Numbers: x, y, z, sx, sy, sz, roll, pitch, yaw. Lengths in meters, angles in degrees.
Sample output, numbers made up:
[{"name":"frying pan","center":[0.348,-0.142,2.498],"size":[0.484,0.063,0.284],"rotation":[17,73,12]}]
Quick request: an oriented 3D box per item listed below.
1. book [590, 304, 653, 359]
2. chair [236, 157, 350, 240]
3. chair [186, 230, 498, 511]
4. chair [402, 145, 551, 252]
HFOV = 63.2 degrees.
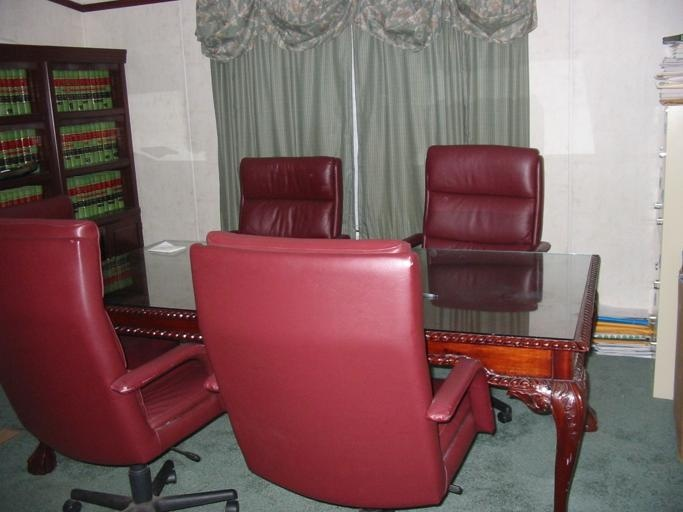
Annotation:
[{"name":"book","center":[1.941,0.597,3.940],"size":[0.445,0.130,0.516],"rotation":[3,42,22]},{"name":"chair","center":[-0.306,-0.412,4.351],"size":[0.777,0.964,0.639],"rotation":[2,8,12]},{"name":"chair","center":[0.145,0.291,2.240],"size":[0.875,1.293,0.975],"rotation":[2,23,16]},{"name":"chair","center":[0.936,-0.356,3.913],"size":[0.700,1.055,0.774],"rotation":[2,3,17]}]
